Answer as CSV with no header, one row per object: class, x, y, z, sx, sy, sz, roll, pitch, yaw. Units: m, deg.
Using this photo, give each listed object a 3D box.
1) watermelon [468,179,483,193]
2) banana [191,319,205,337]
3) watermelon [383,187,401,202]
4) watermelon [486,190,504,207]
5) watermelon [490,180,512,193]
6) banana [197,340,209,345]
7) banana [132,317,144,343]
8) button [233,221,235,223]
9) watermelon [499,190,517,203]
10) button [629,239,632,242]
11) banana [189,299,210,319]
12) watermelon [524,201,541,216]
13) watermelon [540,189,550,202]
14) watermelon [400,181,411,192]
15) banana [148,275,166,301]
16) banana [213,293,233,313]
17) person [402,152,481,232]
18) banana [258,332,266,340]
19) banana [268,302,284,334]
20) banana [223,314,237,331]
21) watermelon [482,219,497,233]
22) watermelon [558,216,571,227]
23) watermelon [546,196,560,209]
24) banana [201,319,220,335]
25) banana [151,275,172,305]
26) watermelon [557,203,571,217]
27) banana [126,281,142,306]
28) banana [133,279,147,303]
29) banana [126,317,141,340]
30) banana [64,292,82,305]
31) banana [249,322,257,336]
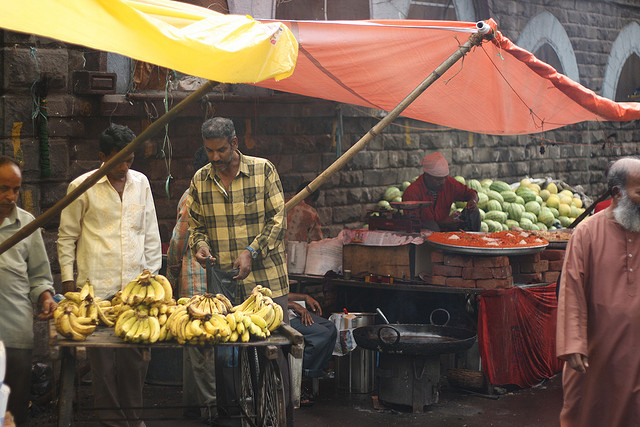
watermelon,2.445,-0.429,16.043,0.199,0.268,0.202,0,1,-5
banana,-1.169,1.088,9.587,0.104,0.067,0.212,-4,37,-17
watermelon,1.068,-0.300,15.332,0.235,0.189,0.180,-20,-12,-20
watermelon,2.773,-0.256,15.999,0.248,0.162,0.193,20,13,28
watermelon,2.897,-0.439,16.307,0.236,0.148,0.185,5,1,30
banana,-1.133,1.224,9.611,0.069,0.057,0.041,5,3,-9
banana,-1.725,1.115,9.623,0.125,0.211,0.067,14,-24,7
button,-0.933,0.086,10.829,0.016,0.017,0.017,2,0,0
watermelon,3.009,-0.278,16.176,0.225,0.154,0.155,8,11,6
button,3.037,0.263,9.919,0.023,0.020,0.027,2,-2,6
banana,-1.189,0.921,9.706,0.168,0.161,0.196,1,1,-32
watermelon,3.471,-0.106,16.518,0.214,0.285,0.218,-17,2,29
watermelon,3.760,-0.328,17.004,0.151,0.204,0.161,0,1,8
watermelon,1.289,-0.422,15.516,0.121,0.165,0.126,7,22,30
banana,-1.595,0.749,9.903,0.169,0.346,0.105,5,-41,-22
banana,-0.945,0.870,9.956,0.182,0.066,0.142,46,10,3
person,1.724,-0.309,14.380,0.889,1.091,1.490,2,1,39
banana,-0.563,1.182,9.771,0.063,0.069,0.040,1,1,-12
banana,-0.433,1.030,9.966,0.073,0.246,0.200,10,-15,-2
banana,-0.878,1.049,9.762,0.049,0.131,0.129,-16,-23,-12
watermelon,2.588,0.180,15.378,0.138,0.163,0.194,-1,0,1
watermelon,4.055,0.120,16.817,0.189,0.147,0.147,36,27,-9
watermelon,3.875,-0.194,16.858,0.163,0.221,0.176,0,8,7
banana,-1.057,1.086,9.611,0.118,0.036,0.076,48,29,16
banana,-1.533,0.722,9.951,0.077,0.257,0.236,-28,48,-6
watermelon,4.069,-0.065,16.895,0.180,0.237,0.185,3,12,9
banana,-1.816,0.761,9.932,0.076,0.305,0.098,-3,-37,45
banana,-1.759,0.754,9.864,0.094,0.221,0.142,2,1,19
banana,-1.785,1.094,9.617,0.069,0.216,0.059,7,-42,14
banana,-2.425,0.819,9.901,0.110,0.041,0.126,30,-16,40
banana,-0.648,1.121,9.784,0.078,0.184,0.063,13,-26,-34
